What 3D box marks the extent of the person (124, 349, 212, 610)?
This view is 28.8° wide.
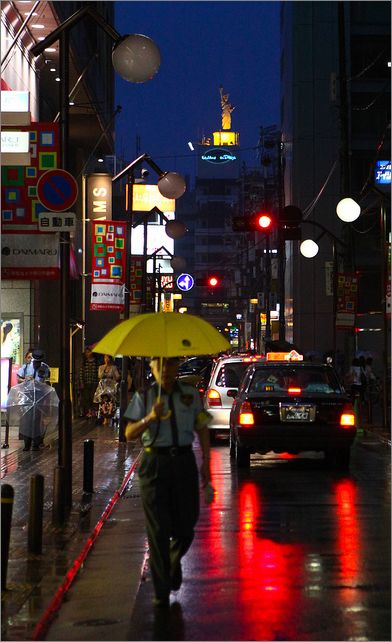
[{"bbox_3d":[-0.193,0.966,4.693,0.367,1.481,0.549,0,1,28],"label":"person"}]

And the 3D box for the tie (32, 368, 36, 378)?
[{"bbox_3d":[-3.357,1.095,15.834,0.030,0.138,0.124,12,-12,-33],"label":"tie"}]

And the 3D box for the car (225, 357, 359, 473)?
[{"bbox_3d":[1.516,1.472,12.917,1.192,1.154,2.335,0,3,0],"label":"car"}]

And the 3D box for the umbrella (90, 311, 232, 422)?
[{"bbox_3d":[-0.202,0.255,4.666,0.599,0.453,0.575,-6,-8,44],"label":"umbrella"}]

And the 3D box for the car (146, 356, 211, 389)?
[{"bbox_3d":[-0.715,1.457,24.040,2.144,1.238,1.341,3,-4,-12],"label":"car"}]

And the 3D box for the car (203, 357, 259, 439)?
[{"bbox_3d":[0.634,1.519,16.646,0.849,1.058,2.012,0,3,1],"label":"car"}]
